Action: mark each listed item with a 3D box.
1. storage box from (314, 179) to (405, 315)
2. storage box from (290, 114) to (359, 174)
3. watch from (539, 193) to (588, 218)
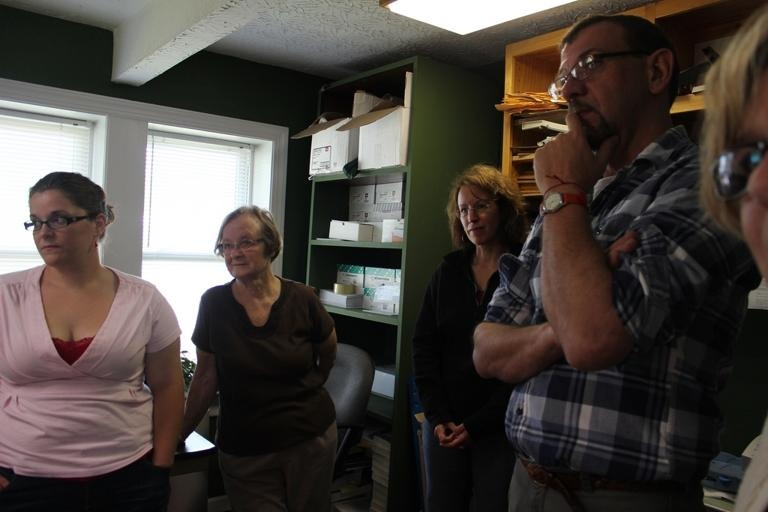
[{"bbox_3d":[-0.181,-0.062,3.961,0.333,0.865,0.994,3,0,-37],"label":"storage box"},{"bbox_3d":[-0.356,-0.765,4.045,0.390,0.430,0.464,-2,-7,28],"label":"storage box"},{"bbox_3d":[0.470,-0.146,1.551,0.098,0.059,0.099,3,0,8],"label":"watch"}]
